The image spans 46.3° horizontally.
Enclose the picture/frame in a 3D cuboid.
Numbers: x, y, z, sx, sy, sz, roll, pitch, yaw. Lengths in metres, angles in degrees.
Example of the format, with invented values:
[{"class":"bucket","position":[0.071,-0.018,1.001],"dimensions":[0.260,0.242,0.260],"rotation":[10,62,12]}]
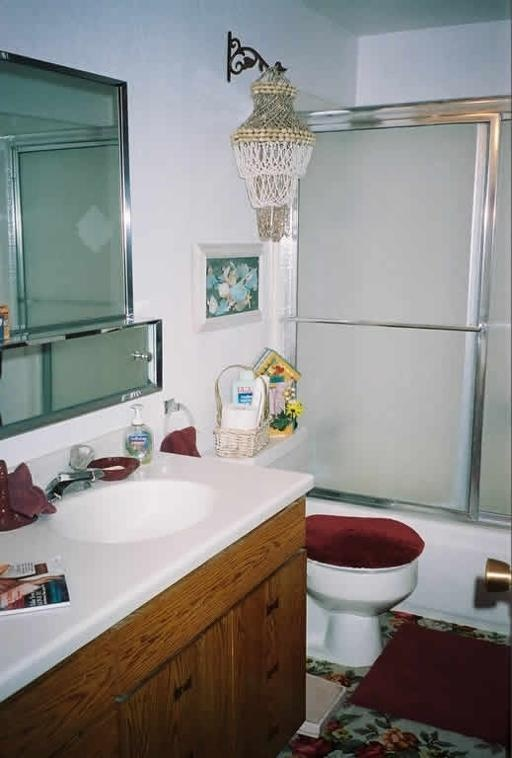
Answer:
[{"class":"picture/frame","position":[-0.082,-0.326,2.106],"dimensions":[0.008,0.256,0.370],"rotation":[13,19,34]}]

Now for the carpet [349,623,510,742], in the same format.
[{"class":"carpet","position":[0.600,0.966,1.953],"dimensions":[0.441,0.068,0.514],"rotation":[9,9,27]}]

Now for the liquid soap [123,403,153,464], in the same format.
[{"class":"liquid soap","position":[-0.304,0.137,1.529],"dimensions":[0.064,0.135,0.150],"rotation":[1,9,-20]}]

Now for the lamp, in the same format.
[{"class":"lamp","position":[0.033,-0.746,1.853],"dimensions":[0.273,0.607,0.282],"rotation":[-1,7,-3]}]

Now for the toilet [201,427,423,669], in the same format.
[{"class":"toilet","position":[0.256,0.597,2.086],"dimensions":[0.645,0.687,0.360],"rotation":[2,6,24]}]

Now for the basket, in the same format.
[{"class":"basket","position":[-0.040,0.098,1.994],"dimensions":[0.169,0.292,0.250],"rotation":[5,8,6]}]

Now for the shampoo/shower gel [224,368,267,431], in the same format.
[{"class":"shampoo/shower gel","position":[-0.036,0.066,2.015],"dimensions":[0.123,0.203,0.115],"rotation":[2,21,-13]}]

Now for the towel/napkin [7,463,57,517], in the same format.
[{"class":"towel/napkin","position":[-0.431,0.215,1.144],"dimensions":[0.082,0.107,0.034],"rotation":[-31,1,-22]}]
